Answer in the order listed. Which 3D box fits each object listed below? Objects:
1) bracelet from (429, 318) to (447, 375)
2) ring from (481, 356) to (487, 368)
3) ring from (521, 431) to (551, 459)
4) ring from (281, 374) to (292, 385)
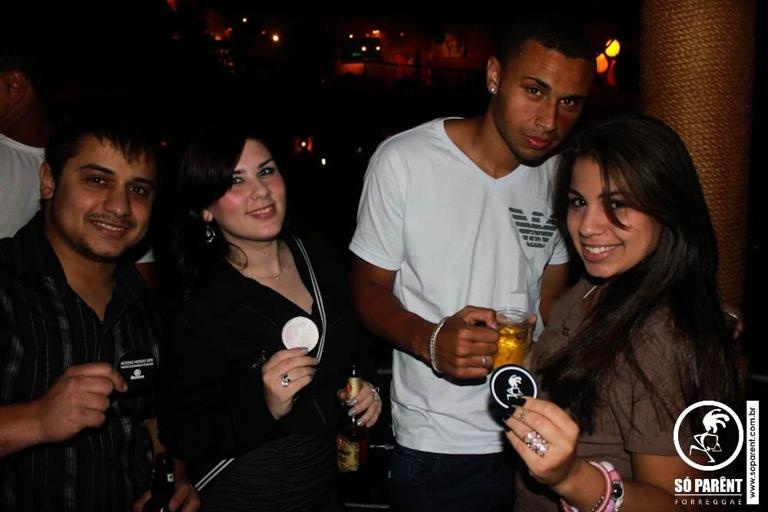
[{"bbox_3d":[0.299,0.501,3.277,0.087,0.298,0.122,5,15,5],"label":"bracelet"},{"bbox_3d":[0.554,0.579,3.158,0.028,0.055,0.016,3,15,-3],"label":"ring"},{"bbox_3d":[0.695,0.863,2.609,0.117,0.077,0.032,39,6,20],"label":"ring"},{"bbox_3d":[-0.580,0.714,3.317,0.062,0.054,0.021,0,-1,-5],"label":"ring"}]
